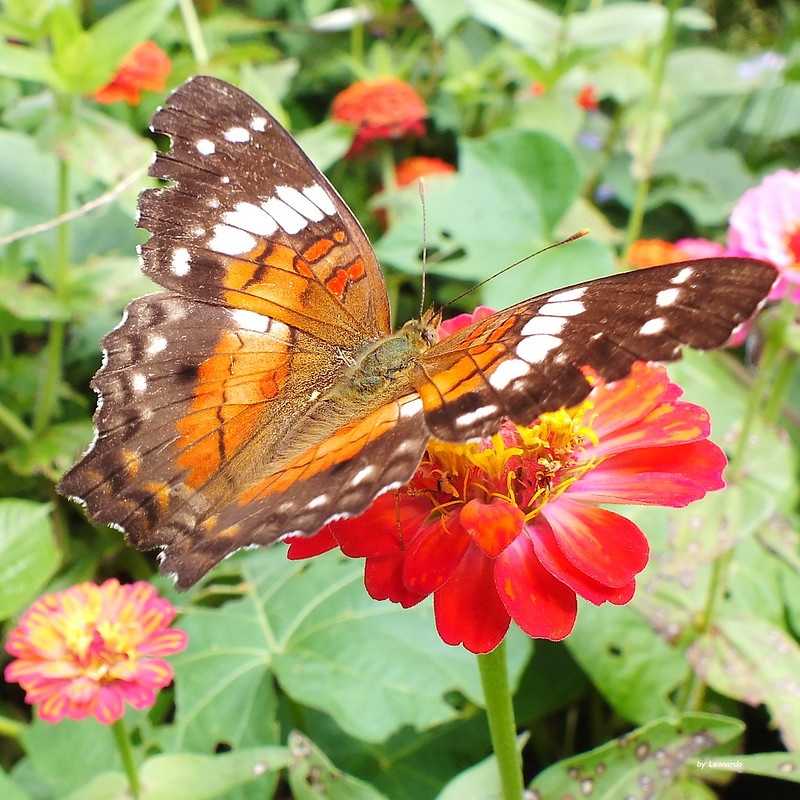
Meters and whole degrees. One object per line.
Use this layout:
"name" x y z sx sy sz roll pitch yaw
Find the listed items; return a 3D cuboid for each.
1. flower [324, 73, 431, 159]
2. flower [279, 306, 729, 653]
"flower" -0.039 -0.453 1.396 0.126 0.053 0.126 26 40 30
"flower" 0.100 0.091 0.812 0.308 0.272 0.110 -16 25 -37
